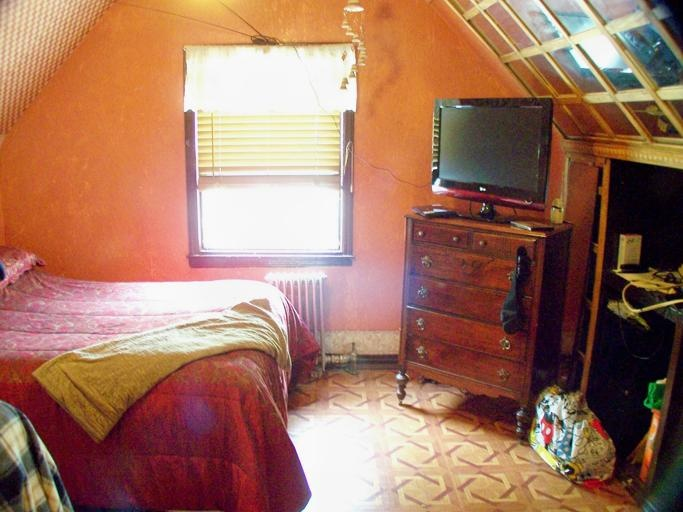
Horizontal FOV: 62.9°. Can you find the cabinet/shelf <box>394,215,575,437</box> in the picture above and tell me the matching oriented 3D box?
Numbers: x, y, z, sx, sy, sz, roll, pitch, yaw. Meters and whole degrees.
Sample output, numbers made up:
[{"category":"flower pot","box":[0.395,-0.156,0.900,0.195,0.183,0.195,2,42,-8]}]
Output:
[{"category":"cabinet/shelf","box":[1.012,0.468,3.843,1.234,1.674,0.926,6,8,32]}]

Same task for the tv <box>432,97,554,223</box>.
[{"category":"tv","box":[1.032,-0.684,3.823,0.159,0.740,0.786,-17,24,-40]}]

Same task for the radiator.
[{"category":"radiator","box":[-0.427,0.536,4.478,0.522,0.131,0.920,-8,52,17]}]

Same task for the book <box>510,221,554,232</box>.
[{"category":"book","box":[1.254,-0.203,3.673,0.275,0.038,0.249,6,14,25]}]
